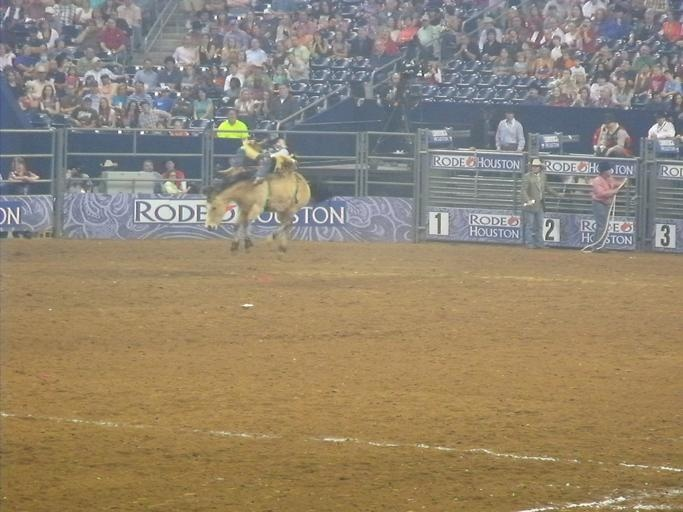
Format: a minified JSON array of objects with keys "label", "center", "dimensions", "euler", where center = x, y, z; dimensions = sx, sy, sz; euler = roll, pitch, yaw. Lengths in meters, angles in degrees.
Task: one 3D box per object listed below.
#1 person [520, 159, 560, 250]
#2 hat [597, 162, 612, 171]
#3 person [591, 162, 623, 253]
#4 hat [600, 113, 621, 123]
[{"label":"person","center":[5.107,-1.351,45.550],"dimensions":[0.682,2.291,1.124],"euler":[1,1,5]},{"label":"hat","center":[6.782,-2.273,44.767],"dimensions":[0.319,0.262,0.401],"euler":[1,1,7]},{"label":"person","center":[6.882,-1.267,45.172],"dimensions":[0.749,2.295,1.194],"euler":[1,1,13]},{"label":"hat","center":[7.157,-3.619,46.276],"dimensions":[0.384,0.391,0.454],"euler":[-3,7,11]}]
